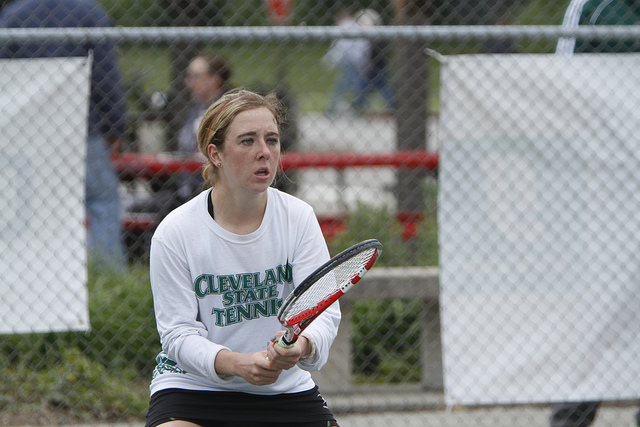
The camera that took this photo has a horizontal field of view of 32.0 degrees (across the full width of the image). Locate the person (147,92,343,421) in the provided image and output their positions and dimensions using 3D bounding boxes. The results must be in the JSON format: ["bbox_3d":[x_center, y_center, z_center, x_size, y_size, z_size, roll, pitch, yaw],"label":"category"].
[{"bbox_3d":[-0.503,0.276,7.166,1.140,2.108,0.529,1,2,14],"label":"person"}]

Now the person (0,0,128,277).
[{"bbox_3d":[-1.908,-0.598,8.426,0.932,2.131,1.459,-1,2,-15],"label":"person"}]

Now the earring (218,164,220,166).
[{"bbox_3d":[-0.651,-0.315,7.199,0.011,0.012,0.011,4,-1,0],"label":"earring"}]

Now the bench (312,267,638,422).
[{"bbox_3d":[0.745,0.943,9.248,1.856,1.358,0.450,-2,-4,13],"label":"bench"}]
